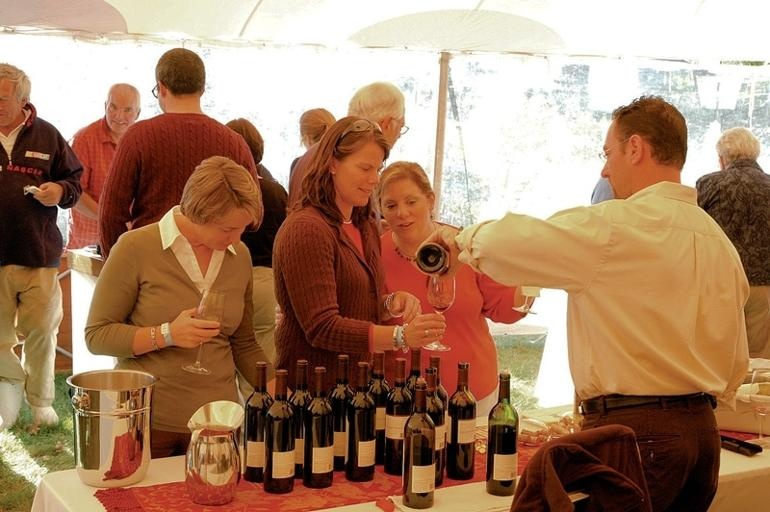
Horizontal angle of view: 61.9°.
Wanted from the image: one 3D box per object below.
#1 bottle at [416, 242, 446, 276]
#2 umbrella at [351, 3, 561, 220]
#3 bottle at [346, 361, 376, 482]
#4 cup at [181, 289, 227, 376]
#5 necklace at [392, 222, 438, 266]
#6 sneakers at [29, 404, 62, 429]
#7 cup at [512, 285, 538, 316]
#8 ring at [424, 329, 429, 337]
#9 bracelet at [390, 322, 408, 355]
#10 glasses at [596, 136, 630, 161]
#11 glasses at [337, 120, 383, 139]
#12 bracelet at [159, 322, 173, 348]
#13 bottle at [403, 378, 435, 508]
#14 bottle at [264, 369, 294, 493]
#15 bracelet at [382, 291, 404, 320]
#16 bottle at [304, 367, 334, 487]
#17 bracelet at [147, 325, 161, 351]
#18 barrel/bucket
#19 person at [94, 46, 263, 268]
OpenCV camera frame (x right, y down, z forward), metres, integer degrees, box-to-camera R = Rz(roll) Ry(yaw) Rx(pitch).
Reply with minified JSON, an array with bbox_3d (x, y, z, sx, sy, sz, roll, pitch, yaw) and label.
[{"bbox_3d":[0.222,0.013,2.999,0.138,0.131,0.134,10,6,9],"label":"bottle"},{"bbox_3d":[0.523,-1.264,6.594,1.906,1.836,1.880,5,-4,-24],"label":"umbrella"},{"bbox_3d":[-0.095,0.697,2.704,0.119,0.513,0.192,1,-2,-2],"label":"bottle"},{"bbox_3d":[-0.863,0.376,3.067,0.175,0.424,0.334,2,-2,-17],"label":"cup"},{"bbox_3d":[0.172,-0.096,3.723,0.210,0.147,0.258,-3,33,14],"label":"necklace"},{"bbox_3d":[-3.110,1.474,5.879,0.177,0.221,0.232,-5,-7,6],"label":"sneakers"},{"bbox_3d":[0.746,0.233,3.375,0.173,0.179,0.173,1,-2,0],"label":"cup"},{"bbox_3d":[0.196,0.355,2.958,0.020,0.019,0.009,-2,1,-22],"label":"ring"},{"bbox_3d":[0.075,0.389,3.025,0.071,0.124,0.134,1,-2,1],"label":"bracelet"},{"bbox_3d":[1.014,-0.459,2.842,0.108,0.033,0.103,-29,7,5],"label":"glasses"},{"bbox_3d":[-0.115,-0.636,3.187,0.132,0.034,0.123,-5,-33,-17],"label":"glasses"},{"bbox_3d":[-1.026,0.369,3.023,0.068,0.100,0.101,-17,-16,-18],"label":"bracelet"},{"bbox_3d":[0.141,0.750,2.559,0.133,0.506,0.174,1,-2,2],"label":"bottle"},{"bbox_3d":[-0.424,0.713,2.625,0.124,0.508,0.169,2,-2,-9],"label":"bottle"},{"bbox_3d":[0.045,0.258,3.327,0.112,0.130,0.069,-43,22,-25],"label":"bracelet"},{"bbox_3d":[-0.269,0.705,2.648,0.123,0.508,0.145,2,-2,-6],"label":"bottle"},{"bbox_3d":[-1.086,0.387,3.044,0.053,0.105,0.035,2,-2,-8],"label":"bracelet"},{"bbox_3d":[-1.065,0.695,2.822,0.535,0.538,0.428,1,-1,-12],"label":"barrel/bucket"},{"bbox_3d":[-1.418,-0.360,4.577,1.064,2.050,0.627,-1,20,-23],"label":"person"}]
